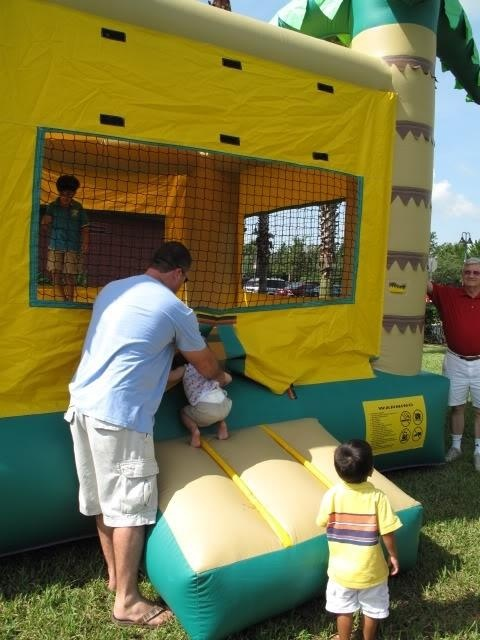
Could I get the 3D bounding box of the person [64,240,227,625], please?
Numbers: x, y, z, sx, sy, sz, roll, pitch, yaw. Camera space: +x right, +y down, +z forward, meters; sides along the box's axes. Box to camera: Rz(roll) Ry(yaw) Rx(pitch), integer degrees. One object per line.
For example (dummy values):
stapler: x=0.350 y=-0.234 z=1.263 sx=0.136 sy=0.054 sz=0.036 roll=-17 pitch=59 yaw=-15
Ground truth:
person: x=-0.403 y=0.420 z=2.169 sx=0.549 sy=1.532 sz=0.484 roll=-4 pitch=4 yaw=-37

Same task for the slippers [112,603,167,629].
slippers: x=-0.383 y=1.158 z=1.995 sx=0.173 sy=0.041 sz=0.091 roll=1 pitch=4 yaw=7

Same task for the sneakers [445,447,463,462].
sneakers: x=1.702 y=1.099 z=4.084 sx=0.065 sy=0.077 sz=0.197 roll=-7 pitch=-4 yaw=42
